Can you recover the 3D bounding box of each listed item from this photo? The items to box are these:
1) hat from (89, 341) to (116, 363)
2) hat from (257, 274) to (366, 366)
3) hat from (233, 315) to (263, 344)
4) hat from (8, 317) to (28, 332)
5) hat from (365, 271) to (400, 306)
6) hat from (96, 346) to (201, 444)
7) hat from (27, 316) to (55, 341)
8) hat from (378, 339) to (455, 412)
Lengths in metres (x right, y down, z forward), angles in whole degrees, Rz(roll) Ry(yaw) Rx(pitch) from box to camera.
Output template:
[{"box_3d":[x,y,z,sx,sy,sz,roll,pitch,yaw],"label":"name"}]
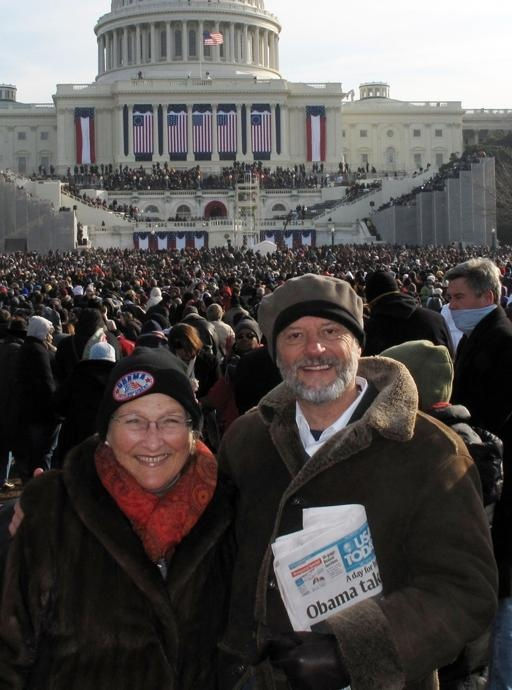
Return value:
[{"box_3d":[-0.938,0.050,4.682,0.116,0.091,0.176,1,11,-27],"label":"hat"},{"box_3d":[0.136,-0.064,1.921,0.239,0.134,0.175,-10,-14,0],"label":"hat"},{"box_3d":[-0.082,-0.131,6.284,0.175,0.196,0.238,1,-35,3],"label":"hat"},{"box_3d":[-2.170,-0.180,6.897,0.139,0.127,0.139,-1,-2,27],"label":"hat"},{"box_3d":[0.875,-0.411,5.445,0.203,0.242,0.270,3,-8,-16],"label":"hat"},{"box_3d":[-0.291,0.127,2.024,0.246,0.232,0.251,1,-2,-7],"label":"hat"},{"box_3d":[-1.738,-0.129,6.073,0.185,0.201,0.344,-5,6,-16],"label":"hat"},{"box_3d":[0.591,0.109,2.746,0.216,0.233,0.245,-3,6,4],"label":"hat"}]
